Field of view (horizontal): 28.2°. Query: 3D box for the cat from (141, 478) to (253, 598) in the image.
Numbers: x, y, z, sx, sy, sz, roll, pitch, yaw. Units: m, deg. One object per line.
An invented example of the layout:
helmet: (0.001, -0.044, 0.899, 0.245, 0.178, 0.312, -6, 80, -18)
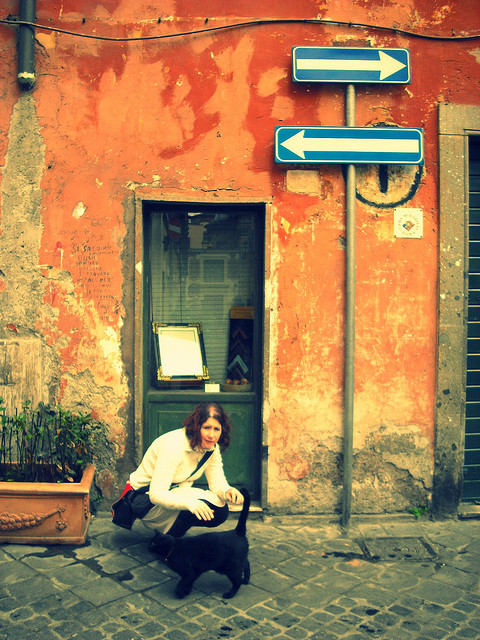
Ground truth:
cat: (-0.246, 1.415, 6.141, 0.665, 0.689, 0.396, 2, 13, 0)

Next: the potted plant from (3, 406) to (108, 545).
potted plant: (-1.433, 1.123, 7.030, 0.731, 0.772, 0.869, 2, 14, -3)

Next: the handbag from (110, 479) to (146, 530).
handbag: (-0.804, 1.293, 6.600, 0.109, 0.313, 0.217, 19, -10, -16)
